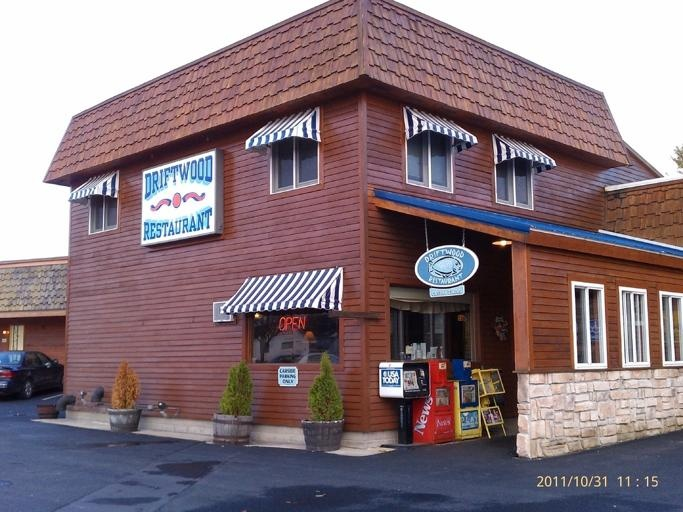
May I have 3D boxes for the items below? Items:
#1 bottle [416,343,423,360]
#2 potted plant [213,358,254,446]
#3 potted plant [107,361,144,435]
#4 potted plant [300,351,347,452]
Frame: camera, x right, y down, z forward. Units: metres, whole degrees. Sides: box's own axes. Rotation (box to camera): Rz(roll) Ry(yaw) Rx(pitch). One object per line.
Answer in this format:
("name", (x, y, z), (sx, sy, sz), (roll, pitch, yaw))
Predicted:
("bottle", (1.898, 2.291, 16.184), (0.042, 0.369, 0.285), (-13, -20, 39))
("potted plant", (-2.618, 3.518, 16.114), (0.891, 1.939, 0.671), (2, -16, -6))
("potted plant", (-6.069, 3.933, 18.697), (0.874, 1.922, 0.649), (5, -17, -16))
("potted plant", (-0.408, 3.236, 14.868), (0.847, 2.134, 0.482), (1, -16, -1))
